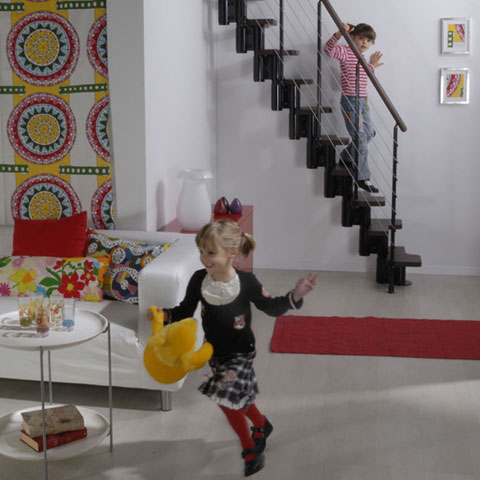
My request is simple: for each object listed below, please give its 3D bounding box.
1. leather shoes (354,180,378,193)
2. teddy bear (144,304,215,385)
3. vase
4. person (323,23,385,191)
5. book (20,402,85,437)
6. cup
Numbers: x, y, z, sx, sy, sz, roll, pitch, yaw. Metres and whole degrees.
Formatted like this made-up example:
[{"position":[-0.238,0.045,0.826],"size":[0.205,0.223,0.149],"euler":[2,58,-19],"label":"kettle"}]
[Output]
[{"position":[1.198,-0.509,4.706],"size":[0.168,0.068,0.069],"euler":[32,-13,-23],"label":"leather shoes"},{"position":[-0.241,0.397,1.757],"size":[0.270,0.254,0.141],"euler":[4,9,19],"label":"teddy bear"},{"position":[-0.329,-0.287,3.528],"size":[0.198,0.416,0.225],"euler":[5,6,38],"label":"vase"},{"position":[1.075,-1.260,4.688],"size":[0.510,1.597,0.727],"euler":[6,10,37],"label":"person"},{"position":[-0.743,0.715,1.939],"size":[0.147,0.044,0.147],"euler":[-3,10,-41],"label":"book"},{"position":[-0.708,0.252,1.837],"size":[0.195,0.193,0.117],"euler":[-2,11,-22],"label":"cup"}]
